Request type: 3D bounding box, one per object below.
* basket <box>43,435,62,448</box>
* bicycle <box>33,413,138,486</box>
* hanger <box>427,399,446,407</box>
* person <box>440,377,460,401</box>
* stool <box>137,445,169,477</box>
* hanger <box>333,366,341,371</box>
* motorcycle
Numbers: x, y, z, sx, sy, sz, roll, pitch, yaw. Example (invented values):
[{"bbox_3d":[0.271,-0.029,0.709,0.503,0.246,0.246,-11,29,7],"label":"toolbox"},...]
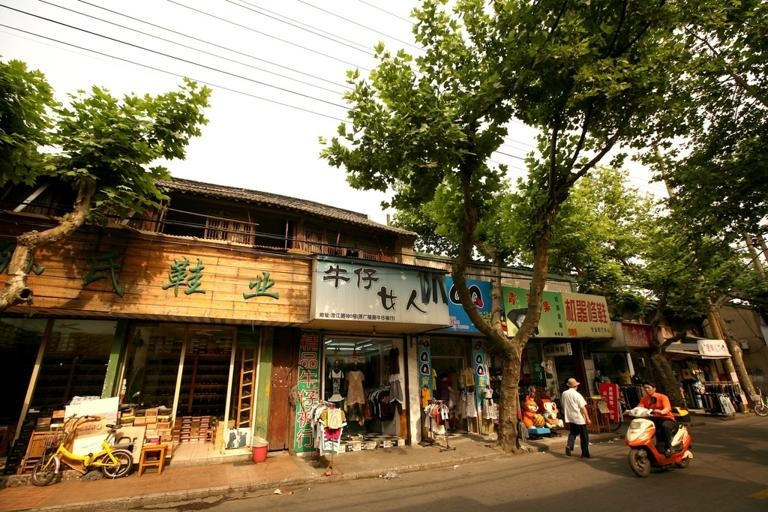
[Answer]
[{"bbox_3d":[-9.262,5.197,11.068,0.398,0.348,0.101,14,-7,-9],"label":"basket"},{"bbox_3d":[-8.271,5.416,10.942,2.410,1.291,1.079,7,-16,-21],"label":"bicycle"},{"bbox_3d":[1.948,5.380,14.637,0.722,0.149,0.360,-1,-1,2],"label":"hanger"},{"bbox_3d":[2.885,5.736,17.109,0.775,1.081,0.384,9,-25,-26],"label":"person"},{"bbox_3d":[-6.788,5.970,11.610,0.885,0.698,0.817,-15,-25,33],"label":"stool"},{"bbox_3d":[-1.863,4.505,15.859,0.189,0.158,0.162,1,-16,-18],"label":"hanger"},{"bbox_3d":[7.652,5.117,11.082,2.115,1.756,0.832,7,-24,-23],"label":"motorcycle"}]
